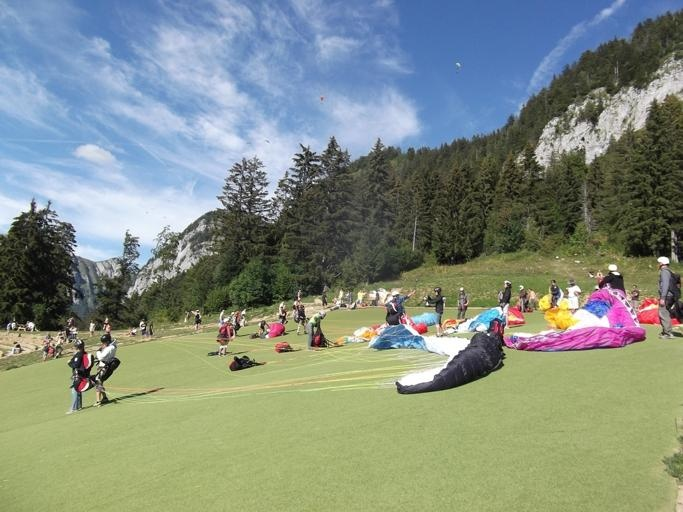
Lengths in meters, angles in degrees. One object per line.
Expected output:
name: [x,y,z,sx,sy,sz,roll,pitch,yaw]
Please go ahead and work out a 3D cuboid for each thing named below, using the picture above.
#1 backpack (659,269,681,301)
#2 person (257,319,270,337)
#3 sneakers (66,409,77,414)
backpack: [11.293,0.960,14.593,0.774,1.099,0.419,0,-7,-18]
person: [-5.409,4.875,28.983,0.425,1.088,1.109,0,-6,32]
sneakers: [-9.374,5.366,14.715,0.492,0.095,0.288,-5,-7,22]
